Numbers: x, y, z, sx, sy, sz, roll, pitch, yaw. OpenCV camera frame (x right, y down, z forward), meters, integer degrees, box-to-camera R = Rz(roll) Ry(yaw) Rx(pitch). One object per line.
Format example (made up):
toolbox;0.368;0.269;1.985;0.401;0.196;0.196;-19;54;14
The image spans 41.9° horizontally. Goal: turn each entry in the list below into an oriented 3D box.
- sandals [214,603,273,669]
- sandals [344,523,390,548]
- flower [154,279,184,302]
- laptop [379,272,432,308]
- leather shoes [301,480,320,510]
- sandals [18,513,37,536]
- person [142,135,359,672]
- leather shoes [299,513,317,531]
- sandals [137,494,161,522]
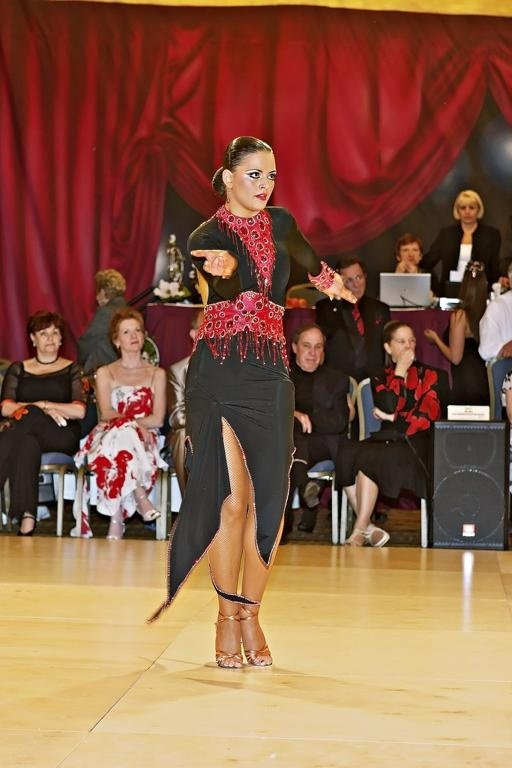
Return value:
sandals;-0.033;0.653;1.747;0.146;0.153;0.107;1;-6;-4
sandals;0.611;0.868;3.779;0.102;0.088;0.281;-6;-12;38
flower;-0.784;-0.854;6.183;0.237;0.223;0.104;8;-34;0
laptop;1.284;-0.802;5.742;0.459;0.302;0.311;1;6;6
leather shoes;0.338;0.680;4.137;0.112;0.176;0.181;7;-3;2
sandals;-1.393;0.853;4.072;0.092;0.135;0.157;2;-7;-18
person;0.009;0.032;1.687;0.456;1.373;0.531;1;-6;-8
leather shoes;0.345;0.932;4.437;0.079;0.141;0.046;2;-41;18
sandals;-0.664;0.738;4.041;0.096;0.081;0.234;10;29;-41
